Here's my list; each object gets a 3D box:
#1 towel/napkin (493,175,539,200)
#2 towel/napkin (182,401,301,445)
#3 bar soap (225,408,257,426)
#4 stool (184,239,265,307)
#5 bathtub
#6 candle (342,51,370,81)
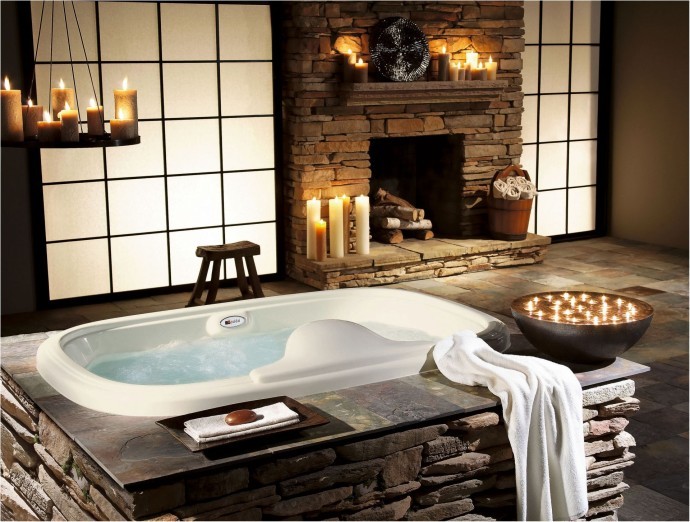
[{"bbox_3d":[1.573,-0.686,4.947,0.272,0.099,0.329,-12,16,-41],"label":"towel/napkin"},{"bbox_3d":[-0.276,0.444,1.441,0.214,0.024,0.114,-5,11,-28],"label":"towel/napkin"},{"bbox_3d":[-0.286,0.422,1.439,0.058,0.022,0.039,-3,9,-23],"label":"bar soap"},{"bbox_3d":[-0.930,0.094,3.951,0.586,0.437,0.314,-6,17,-27],"label":"stool"},{"bbox_3d":[-0.282,0.370,2.332,1.861,0.333,1.189,-4,7,-27],"label":"bathtub"},{"bbox_3d":[0.090,-1.635,4.495,0.222,0.284,0.254,-1,8,2],"label":"candle"}]
